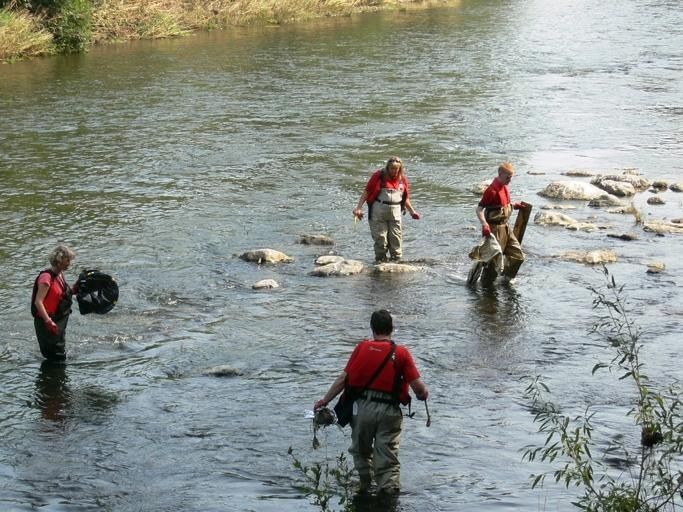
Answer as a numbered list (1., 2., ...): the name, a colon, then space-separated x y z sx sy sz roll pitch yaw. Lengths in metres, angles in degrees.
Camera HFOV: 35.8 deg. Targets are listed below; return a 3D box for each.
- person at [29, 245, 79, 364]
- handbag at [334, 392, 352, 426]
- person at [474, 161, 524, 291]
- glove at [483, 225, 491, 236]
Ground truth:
1. person: -5.015 0.839 18.111 0.561 2.040 0.810 8 23 22
2. handbag: 0.036 2.245 15.669 0.145 0.425 0.383 10 6 -34
3. person: 3.190 -0.700 21.308 1.046 2.446 1.337 2 21 8
4. glove: 2.902 -0.527 20.982 0.147 0.269 0.295 2 18 9
